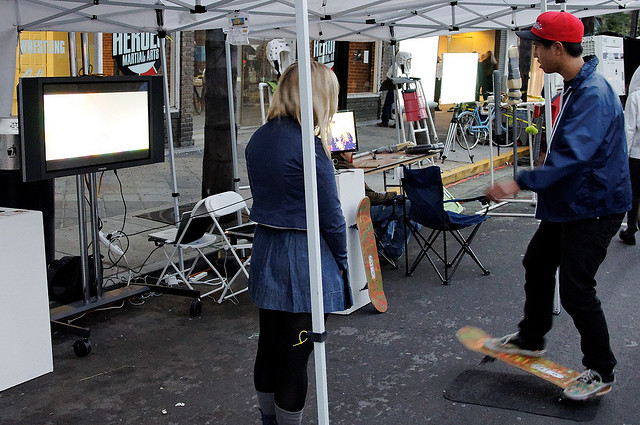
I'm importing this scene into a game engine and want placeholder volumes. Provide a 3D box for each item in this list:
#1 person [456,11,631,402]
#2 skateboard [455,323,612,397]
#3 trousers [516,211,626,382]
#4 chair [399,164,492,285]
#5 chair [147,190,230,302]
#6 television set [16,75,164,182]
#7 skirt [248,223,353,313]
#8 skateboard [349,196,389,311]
[{"bbox_3d":[1.869,-0.038,3.783,0.950,3.067,0.888,5,15,40],"label":"person"},{"bbox_3d":[1.789,1.352,4.265,1.377,0.237,0.373,17,34,39],"label":"skateboard"},{"bbox_3d":[2.039,0.641,3.895,0.461,1.299,0.755,-9,12,-22],"label":"trousers"},{"bbox_3d":[1.774,0.118,6.474,1.145,1.564,1.167,-9,9,-42],"label":"chair"},{"bbox_3d":[-1.789,0.519,6.525,1.370,1.622,1.039,10,15,24],"label":"chair"},{"bbox_3d":[-2.237,-0.885,4.751,0.159,0.942,1.470,5,15,41],"label":"television set"},{"bbox_3d":[-0.185,0.320,2.914,0.409,0.649,0.986,0,0,-29],"label":"skirt"},{"bbox_3d":[0.615,0.486,5.542,0.356,1.316,0.417,2,13,30],"label":"skateboard"}]
